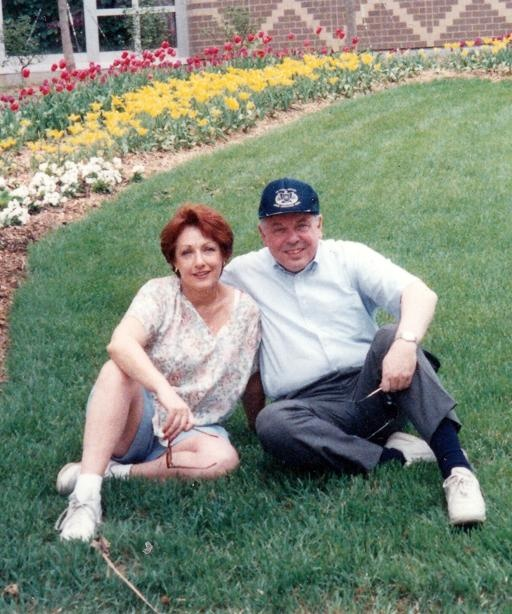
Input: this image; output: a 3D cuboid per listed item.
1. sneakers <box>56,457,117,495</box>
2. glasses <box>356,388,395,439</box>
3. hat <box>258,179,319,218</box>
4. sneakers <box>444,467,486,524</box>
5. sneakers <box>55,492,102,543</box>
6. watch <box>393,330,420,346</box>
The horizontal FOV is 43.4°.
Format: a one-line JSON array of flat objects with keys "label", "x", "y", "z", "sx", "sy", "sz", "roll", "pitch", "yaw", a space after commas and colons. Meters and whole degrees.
[{"label": "sneakers", "x": -0.763, "y": 0.719, "z": 2.930, "sx": 0.106, "sy": 0.133, "sz": 0.311, "roll": 12, "pitch": 13, "yaw": 4}, {"label": "glasses", "x": 0.542, "y": 0.482, "z": 2.913, "sx": 0.231, "sy": 0.165, "sz": 0.098, "roll": -39, "pitch": -30, "yaw": 30}, {"label": "hat", "x": 0.143, "y": -0.494, "z": 2.926, "sx": 0.274, "sy": 0.176, "sz": 0.168, "roll": -5, "pitch": 15, "yaw": 1}, {"label": "sneakers", "x": 0.784, "y": 0.703, "z": 2.421, "sx": 0.149, "sy": 0.142, "sz": 0.341, "roll": -4, "pitch": 2, "yaw": 13}, {"label": "sneakers", "x": -0.666, "y": 0.814, "z": 2.444, "sx": 0.152, "sy": 0.130, "sz": 0.237, "roll": -8, "pitch": 15, "yaw": -13}, {"label": "watch", "x": 0.624, "y": 0.125, "z": 2.678, "sx": 0.102, "sy": 0.046, "sz": 0.102, "roll": 6, "pitch": -10, "yaw": 29}]
